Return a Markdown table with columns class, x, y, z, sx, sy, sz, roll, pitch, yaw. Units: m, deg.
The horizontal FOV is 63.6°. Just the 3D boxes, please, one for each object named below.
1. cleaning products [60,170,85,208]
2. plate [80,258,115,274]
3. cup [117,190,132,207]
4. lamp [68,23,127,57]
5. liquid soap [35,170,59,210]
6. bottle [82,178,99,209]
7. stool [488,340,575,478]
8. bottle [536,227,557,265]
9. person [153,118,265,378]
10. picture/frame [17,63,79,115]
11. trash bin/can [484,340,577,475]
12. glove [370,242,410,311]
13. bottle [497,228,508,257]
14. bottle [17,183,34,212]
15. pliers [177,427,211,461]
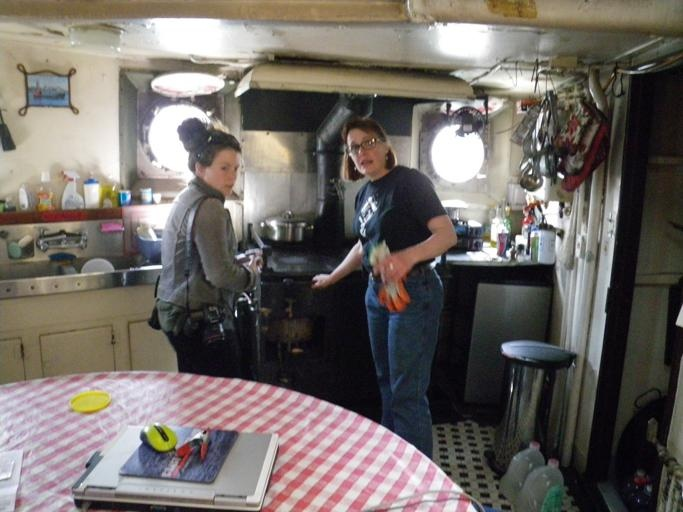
| class | x | y | z | sx | sy | sz | roll | pitch | yaw |
| --- | --- | --- | --- | --- | --- | --- | --- | --- | --- |
| cleaning products | -1.795 | -0.439 | 3.665 | 0.136 | 0.261 | 0.100 | -6 | 9 | -27 |
| plate | -1.485 | 0.063 | 3.361 | 0.186 | 0.074 | 0.141 | -5 | 8 | -23 |
| cup | -1.481 | -0.390 | 3.763 | 0.080 | 0.108 | 0.086 | -2 | 8 | 0 |
| lamp | -1.167 | -1.040 | 2.628 | 0.233 | 0.098 | 0.211 | -6 | 9 | -27 |
| liquid soap | -1.937 | -0.420 | 3.600 | 0.111 | 0.252 | 0.110 | -6 | 9 | -27 |
| bottle | -1.680 | -0.420 | 3.714 | 0.112 | 0.205 | 0.084 | -5 | 9 | -23 |
| stool | 1.159 | 0.956 | 3.336 | 0.480 | 0.781 | 0.431 | 6 | 7 | 7 |
| bottle | 1.341 | -0.060 | 3.603 | 0.125 | 0.229 | 0.076 | 2 | 9 | 23 |
| person | -0.670 | -0.007 | 2.689 | 0.475 | 1.321 | 0.274 | -5 | 9 | -20 |
| picture/frame | -1.916 | -1.089 | 3.565 | 0.331 | 0.313 | 0.026 | -4 | 19 | -23 |
| trash bin/can | 1.136 | 0.959 | 3.347 | 0.448 | 0.739 | 0.406 | 11 | 3 | 25 |
| glove | 0.249 | 0.128 | 2.794 | 0.211 | 0.399 | 0.111 | -1 | -32 | -13 |
| bottle | 1.123 | -0.087 | 3.842 | 0.062 | 0.197 | 0.079 | 2 | -11 | 20 |
| bottle | -2.051 | -0.377 | 3.568 | 0.087 | 0.172 | 0.075 | -5 | 9 | -25 |
| pliers | -0.477 | 0.618 | 1.797 | 0.042 | 0.068 | 0.135 | -1 | 12 | 6 |
